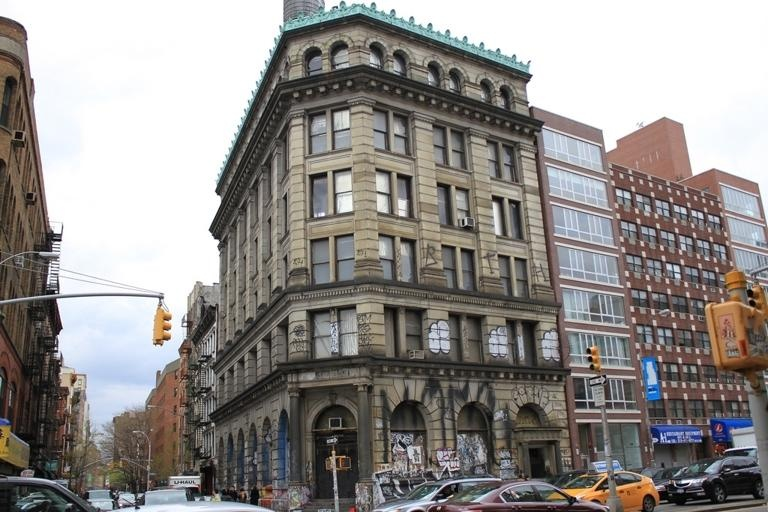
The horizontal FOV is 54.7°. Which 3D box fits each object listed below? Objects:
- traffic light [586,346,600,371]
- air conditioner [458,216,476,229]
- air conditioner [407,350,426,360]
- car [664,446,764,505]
[{"bbox_3d":[10.759,5.259,38.311,0.511,1.139,1.129,-8,-24,11],"label":"traffic light"},{"bbox_3d":[6.110,-2.307,54.771,1.405,0.978,0.747,12,-27,-43],"label":"air conditioner"},{"bbox_3d":[2.220,6.768,50.567,0.716,0.435,0.714,4,-6,-27],"label":"air conditioner"},{"bbox_3d":[19.380,13.108,43.617,5.308,2.753,1.962,1,-24,-9],"label":"car"}]
